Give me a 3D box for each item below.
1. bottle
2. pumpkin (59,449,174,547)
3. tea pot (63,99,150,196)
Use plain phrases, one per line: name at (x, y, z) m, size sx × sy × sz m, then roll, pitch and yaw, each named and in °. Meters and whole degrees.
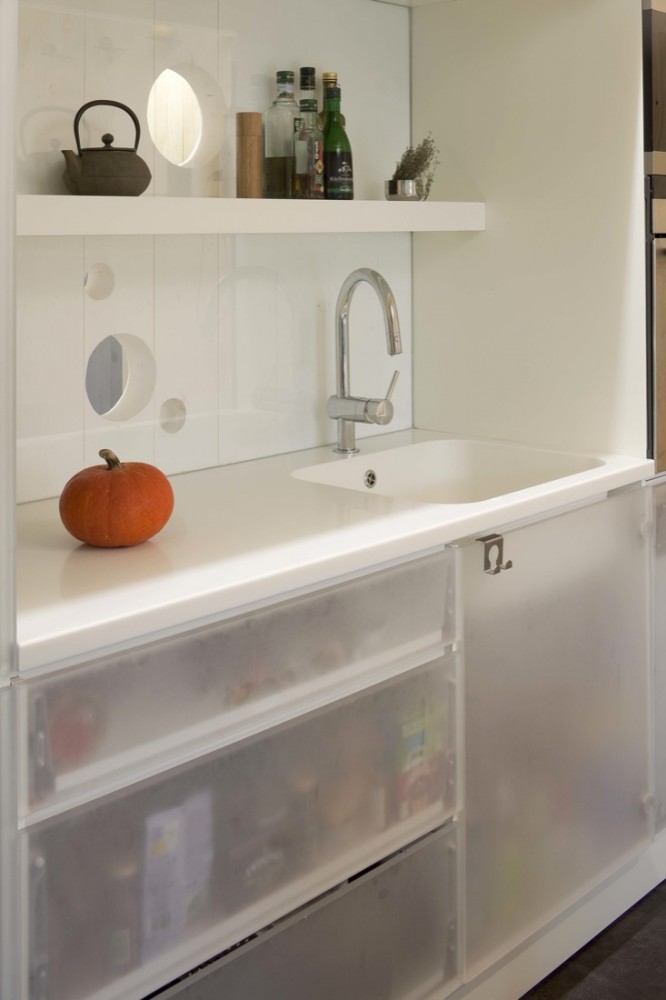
bottle at (-0.065, -0.677, 1.474) m, size 0.124 × 0.241 × 0.230 m, roll 8°, pitch 15°, yaw 42°
pumpkin at (-0.249, 0.001, 0.937) m, size 0.103 × 0.122 × 0.106 m, roll 0°, pitch 4°, yaw 41°
tea pot at (-0.327, -0.497, 1.157) m, size 0.116 × 0.155 × 0.098 m, roll -6°, pitch 6°, yaw -25°
